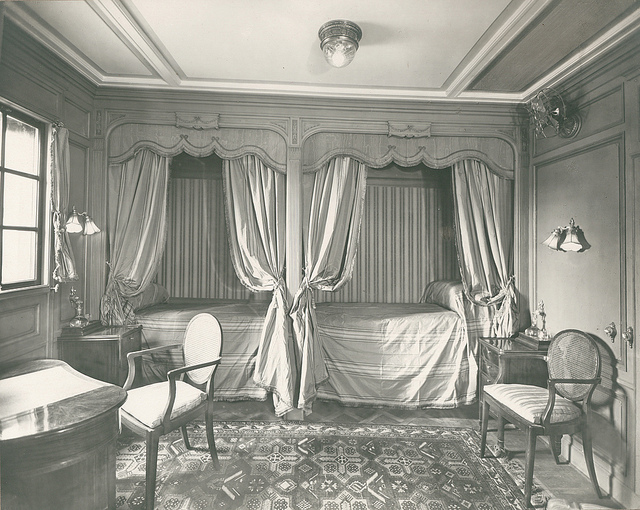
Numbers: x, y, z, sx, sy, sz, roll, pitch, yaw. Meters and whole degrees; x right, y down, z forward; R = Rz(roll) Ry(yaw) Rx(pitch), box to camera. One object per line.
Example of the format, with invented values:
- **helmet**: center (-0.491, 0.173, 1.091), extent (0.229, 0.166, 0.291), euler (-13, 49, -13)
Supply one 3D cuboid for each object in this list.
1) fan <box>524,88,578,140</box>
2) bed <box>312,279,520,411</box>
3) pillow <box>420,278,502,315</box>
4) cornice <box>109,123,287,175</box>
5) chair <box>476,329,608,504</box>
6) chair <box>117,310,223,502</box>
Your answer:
- **fan**: center (2.023, -1.222, 4.445), extent (0.249, 0.502, 0.473), euler (-9, 3, -12)
- **bed**: center (0.865, 0.828, 5.449), extent (1.967, 1.286, 1.371), euler (2, 0, 0)
- **pillow**: center (1.320, 0.432, 5.203), extent (0.514, 0.274, 0.898), euler (3, -1, -2)
- **cornice**: center (-1.137, -0.990, 4.824), extent (1.648, 0.438, 0.111), euler (0, 13, -3)
- **chair**: center (1.834, 1.220, 4.595), extent (0.981, 1.825, 1.199), euler (2, -3, -5)
- **chair**: center (-1.164, 1.078, 4.145), extent (0.848, 1.114, 1.548), euler (-4, 14, -21)
